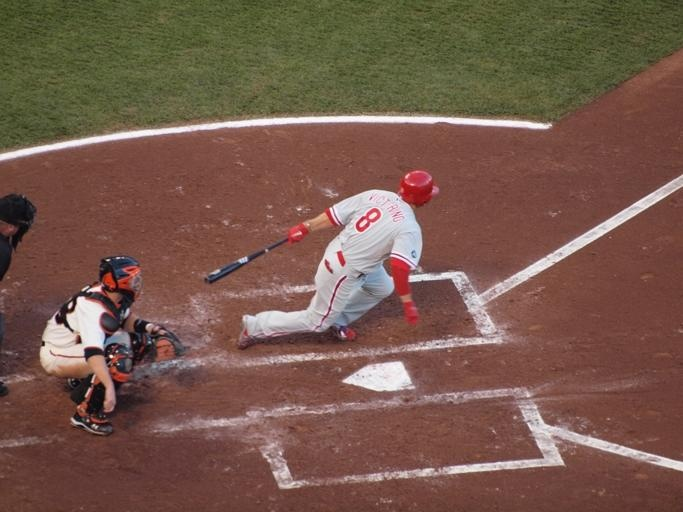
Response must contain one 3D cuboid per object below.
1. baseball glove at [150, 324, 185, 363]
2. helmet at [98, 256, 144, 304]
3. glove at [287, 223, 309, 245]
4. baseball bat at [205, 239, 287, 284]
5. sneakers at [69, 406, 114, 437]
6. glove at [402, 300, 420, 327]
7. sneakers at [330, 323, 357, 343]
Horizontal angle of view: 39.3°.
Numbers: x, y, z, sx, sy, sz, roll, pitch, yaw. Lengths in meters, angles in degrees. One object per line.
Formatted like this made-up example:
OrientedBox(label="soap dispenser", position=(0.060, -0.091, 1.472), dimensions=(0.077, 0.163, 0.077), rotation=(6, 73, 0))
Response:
OrientedBox(label="baseball glove", position=(-1.830, 0.931, 10.035), dimensions=(0.484, 0.191, 0.325), rotation=(28, 46, 31))
OrientedBox(label="helmet", position=(-2.312, 0.239, 9.569), dimensions=(0.567, 0.397, 0.434), rotation=(11, -2, -38))
OrientedBox(label="glove", position=(-0.451, -0.244, 10.333), dimensions=(0.288, 0.095, 0.174), rotation=(-23, 57, -1))
OrientedBox(label="baseball bat", position=(-1.108, 0.080, 11.031), dimensions=(1.251, 0.109, 0.107), rotation=(-20, 53, -9))
OrientedBox(label="sneakers", position=(-2.465, 1.638, 9.504), dimensions=(0.559, 0.180, 0.195), rotation=(9, 33, 1))
OrientedBox(label="glove", position=(0.709, 0.580, 9.808), dimensions=(0.152, 0.219, 0.192), rotation=(-14, 25, -15))
OrientedBox(label="sneakers", position=(0.018, 0.846, 10.449), dimensions=(0.330, 0.114, 0.121), rotation=(12, 76, -8))
